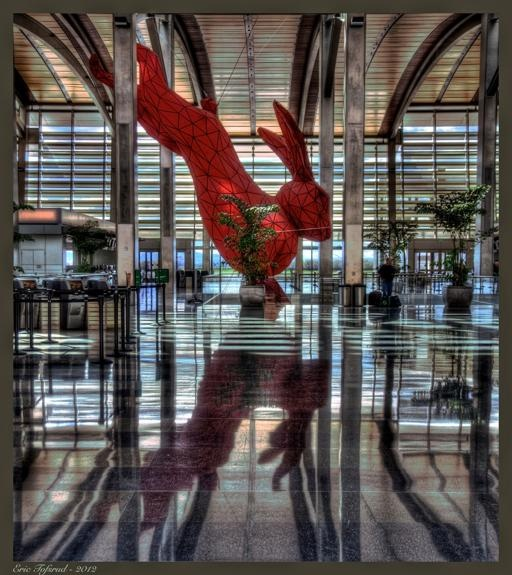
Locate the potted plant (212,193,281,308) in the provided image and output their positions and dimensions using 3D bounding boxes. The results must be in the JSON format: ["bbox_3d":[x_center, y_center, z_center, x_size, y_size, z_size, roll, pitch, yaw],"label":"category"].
[{"bbox_3d":[-0.058,-0.734,17.330,1.141,2.365,1.356,0,-8,-3],"label":"potted plant"}]

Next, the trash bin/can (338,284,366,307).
[{"bbox_3d":[2.247,0.156,18.059,0.722,0.655,0.429,0,-2,3],"label":"trash bin/can"}]

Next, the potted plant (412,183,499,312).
[{"bbox_3d":[4.625,-1.029,17.802,1.323,2.999,2.651,-1,-1,17],"label":"potted plant"}]
